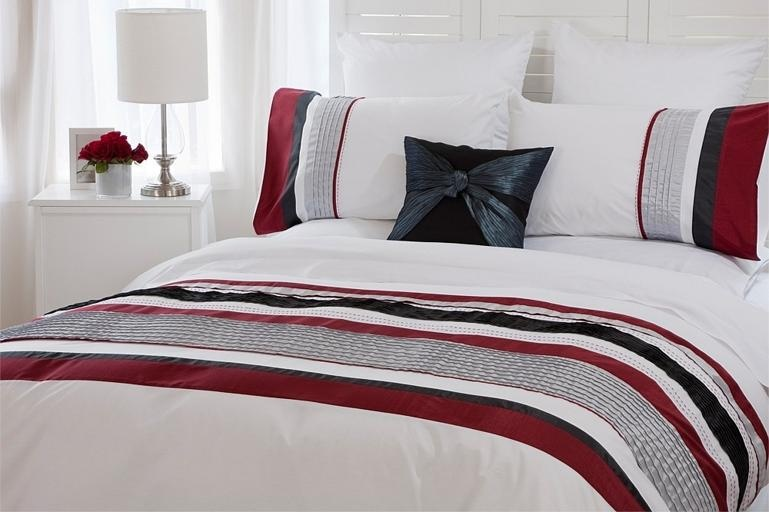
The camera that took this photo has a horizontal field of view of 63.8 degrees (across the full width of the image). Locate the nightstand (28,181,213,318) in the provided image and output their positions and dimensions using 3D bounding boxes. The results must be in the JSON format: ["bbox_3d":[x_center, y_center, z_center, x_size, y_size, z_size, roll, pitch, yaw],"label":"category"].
[{"bbox_3d":[-1.208,-0.100,3.014,0.941,0.771,0.534,0,13,0],"label":"nightstand"}]

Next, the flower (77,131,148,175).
[{"bbox_3d":[-1.218,-0.473,2.822,0.262,0.145,0.211,-11,36,-13],"label":"flower"}]

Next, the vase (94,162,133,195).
[{"bbox_3d":[-1.259,-0.352,2.866,0.176,0.140,0.166,4,9,24],"label":"vase"}]
